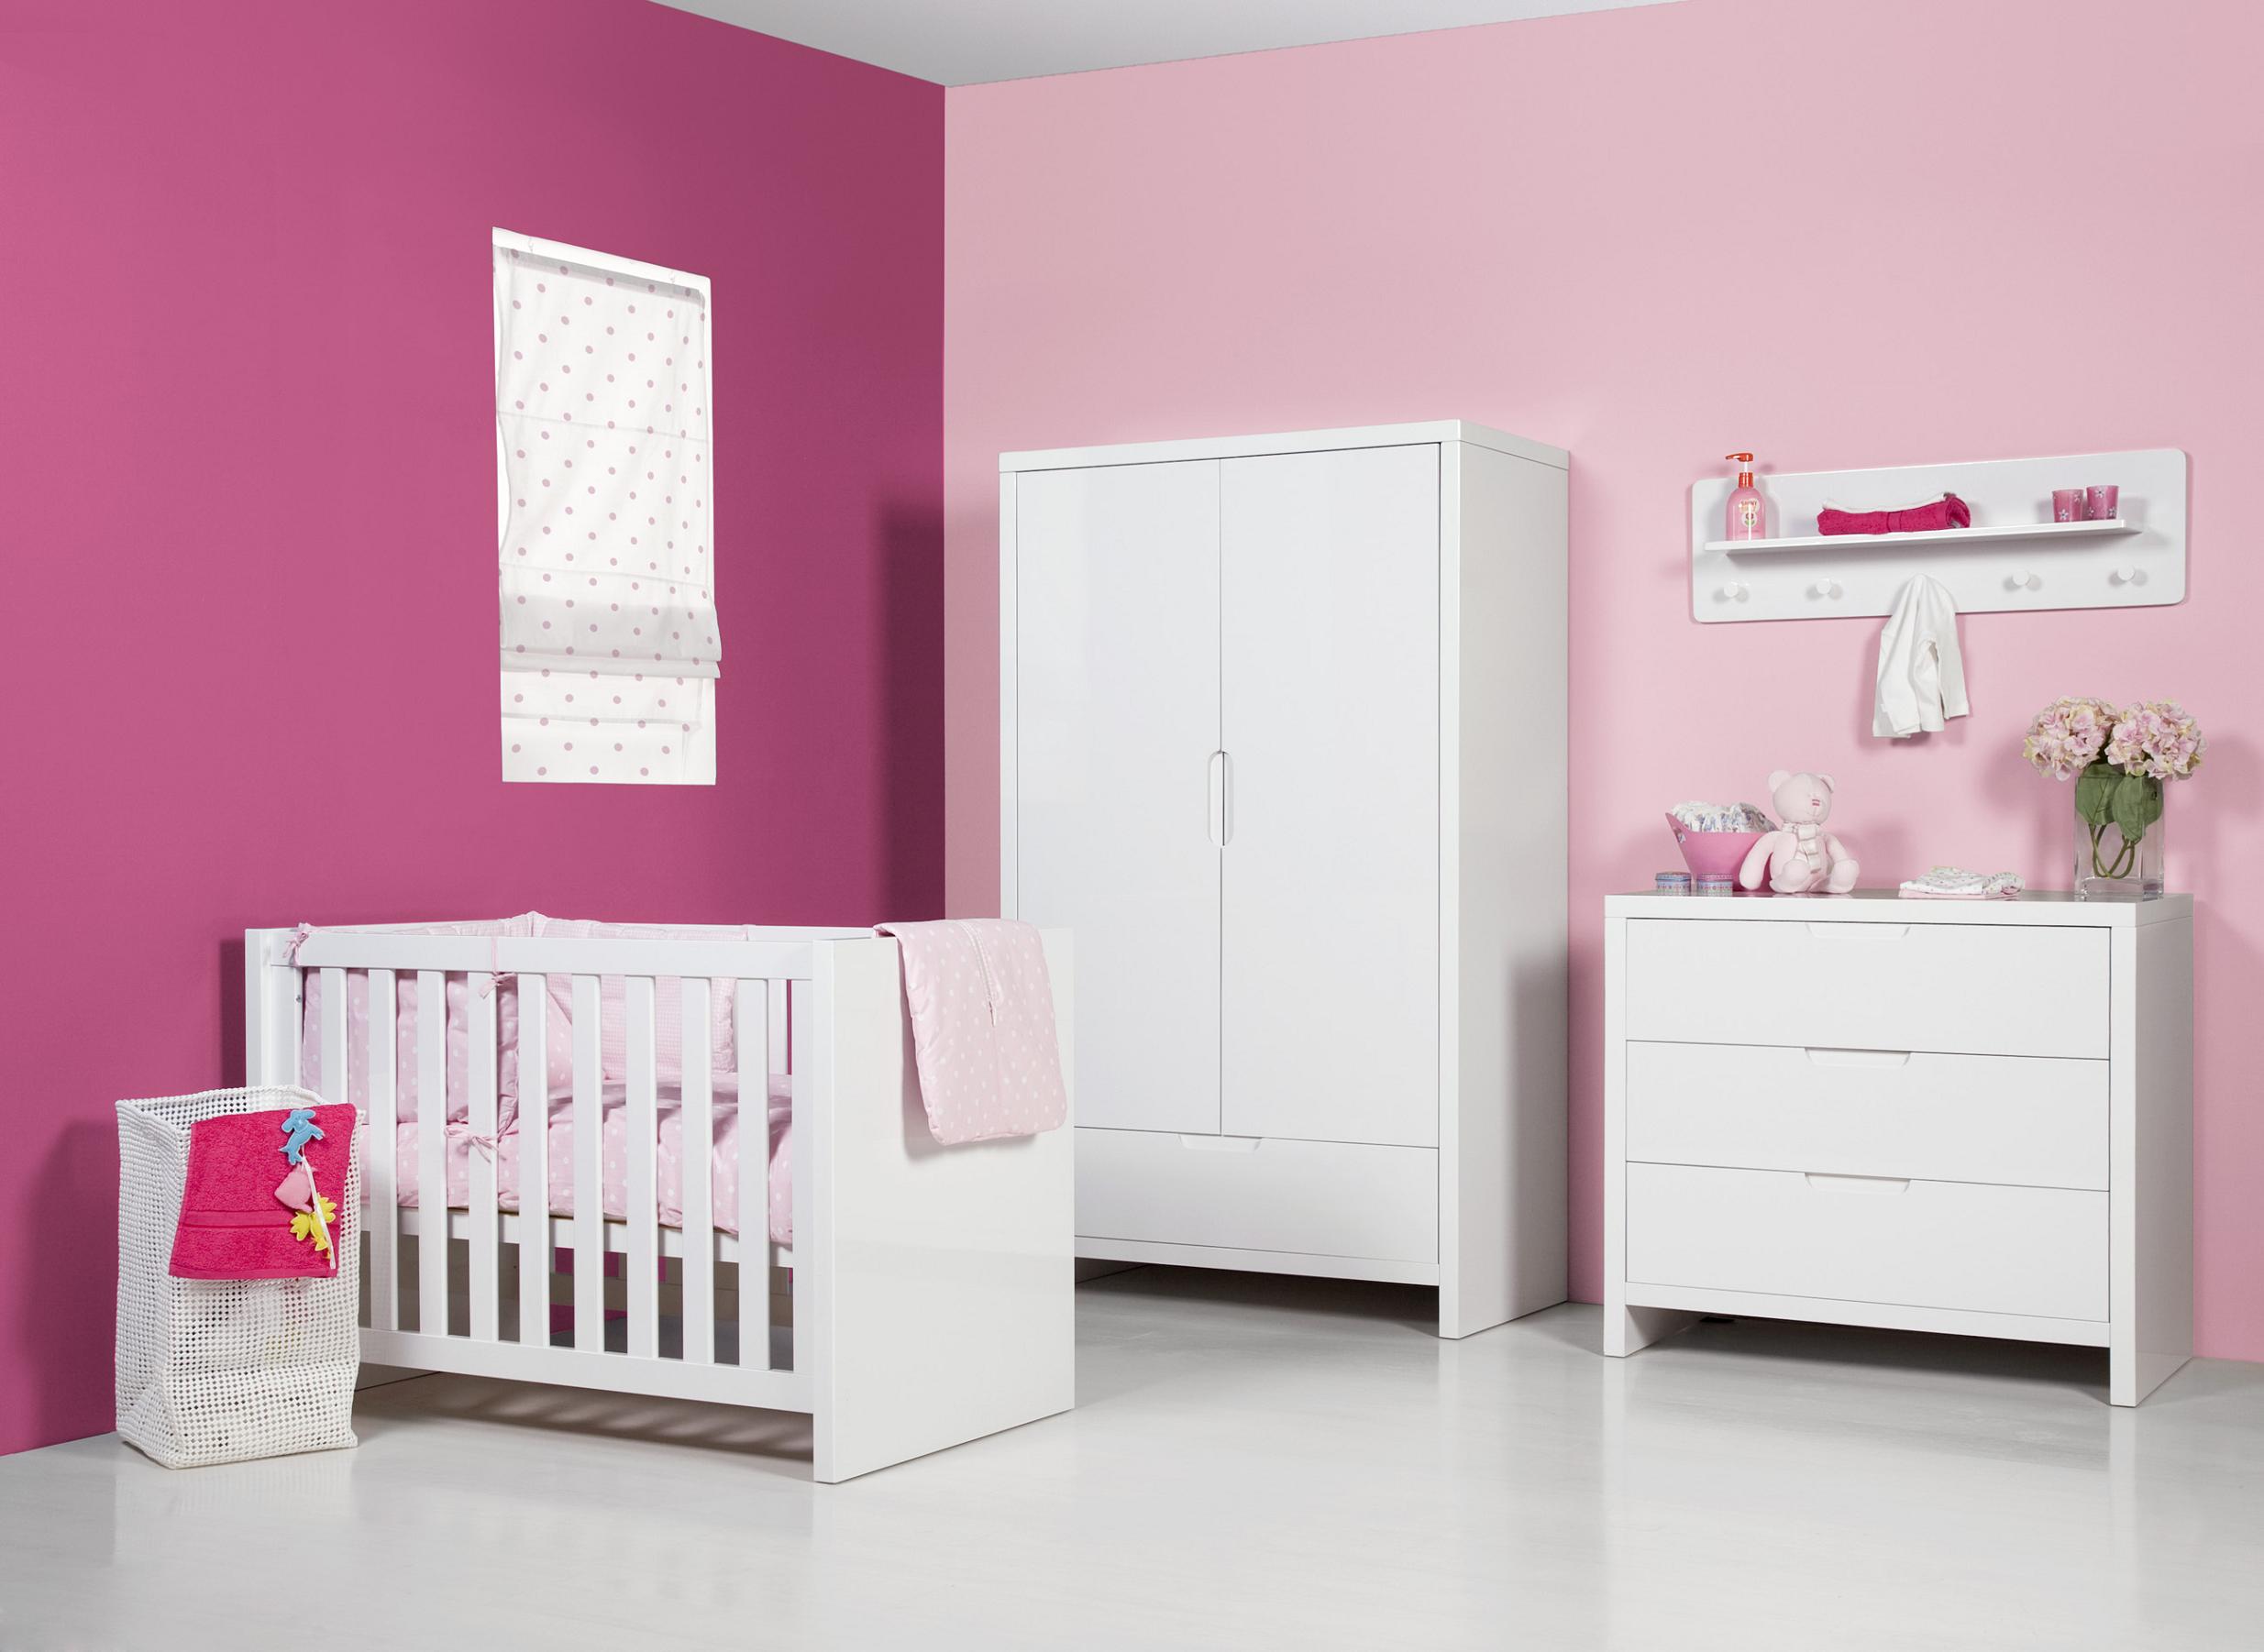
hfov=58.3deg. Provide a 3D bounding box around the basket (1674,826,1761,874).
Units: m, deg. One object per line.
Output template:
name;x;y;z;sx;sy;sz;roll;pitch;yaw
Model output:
basket;1.237;0.053;4.328;0.119;0.063;0.117;1;1;-12

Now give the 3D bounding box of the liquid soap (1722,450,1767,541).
liquid soap;1.390;-0.747;4.593;0.093;0.221;0.131;1;2;16

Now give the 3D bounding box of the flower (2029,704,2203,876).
flower;2.030;-0.068;4.173;0.359;0.372;0.245;1;2;11

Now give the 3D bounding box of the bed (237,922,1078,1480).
bed;-0.855;0.621;4.016;1.419;0.939;0.880;0;1;26

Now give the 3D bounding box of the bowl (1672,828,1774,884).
bowl;1.251;0.064;4.307;0.143;0.093;0.132;0;-1;0

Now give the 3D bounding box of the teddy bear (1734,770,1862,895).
teddy bear;1.427;0.017;4.299;0.282;0.264;0.167;2;0;-18

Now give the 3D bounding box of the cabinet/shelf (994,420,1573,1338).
cabinet/shelf;0.332;0.116;4.658;1.283;1.987;0.486;1;2;13

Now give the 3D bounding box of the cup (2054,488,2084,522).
cup;1.977;-0.674;4.291;0.065;0.064;0.066;1;-5;0

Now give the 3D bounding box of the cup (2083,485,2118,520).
cup;2.044;-0.683;4.287;0.064;0.076;0.057;1;2;24

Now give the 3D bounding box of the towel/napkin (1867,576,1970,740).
towel/napkin;1.722;-0.363;4.450;0.210;0.357;0.104;1;2;21
